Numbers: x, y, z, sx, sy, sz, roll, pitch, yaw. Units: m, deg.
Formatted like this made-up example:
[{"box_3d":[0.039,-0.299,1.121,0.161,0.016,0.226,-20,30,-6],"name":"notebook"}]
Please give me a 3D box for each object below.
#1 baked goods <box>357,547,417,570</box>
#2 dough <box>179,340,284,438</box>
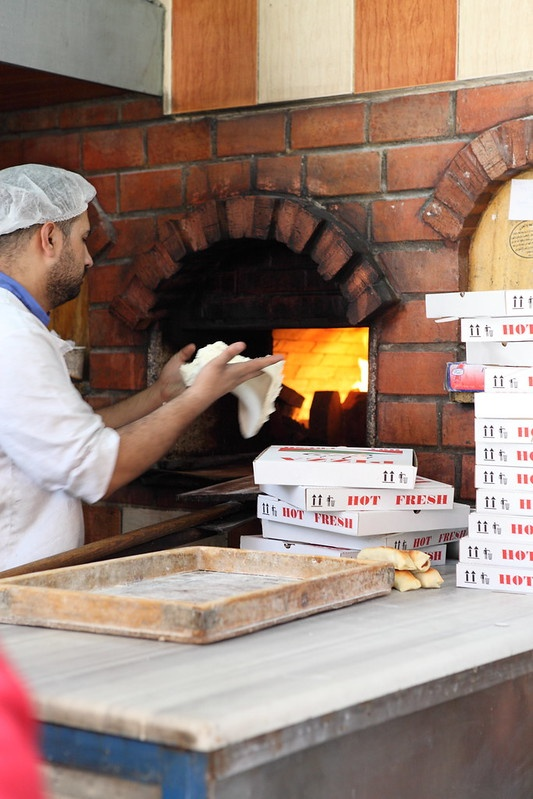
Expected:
[{"box_3d":[0.189,0.255,1.599,0.048,0.016,0.061,9,-6,-39],"name":"baked goods"},{"box_3d":[-0.070,-0.019,2.097,0.089,0.175,0.239,-16,-41,44],"name":"dough"}]
